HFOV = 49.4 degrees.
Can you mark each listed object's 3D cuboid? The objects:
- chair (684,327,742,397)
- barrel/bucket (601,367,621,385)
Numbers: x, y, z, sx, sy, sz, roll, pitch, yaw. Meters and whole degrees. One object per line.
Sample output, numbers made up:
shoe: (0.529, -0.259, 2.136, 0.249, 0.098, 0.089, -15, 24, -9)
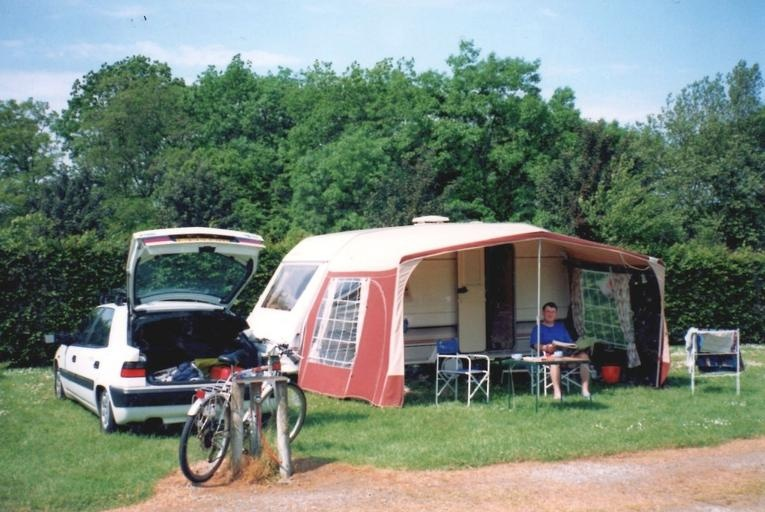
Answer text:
chair: (8.200, 2.617, 21.239, 1.607, 1.928, 1.510, -1, 1, -10)
barrel/bucket: (5.962, 3.070, 21.703, 0.497, 0.458, 0.404, -1, -6, 8)
